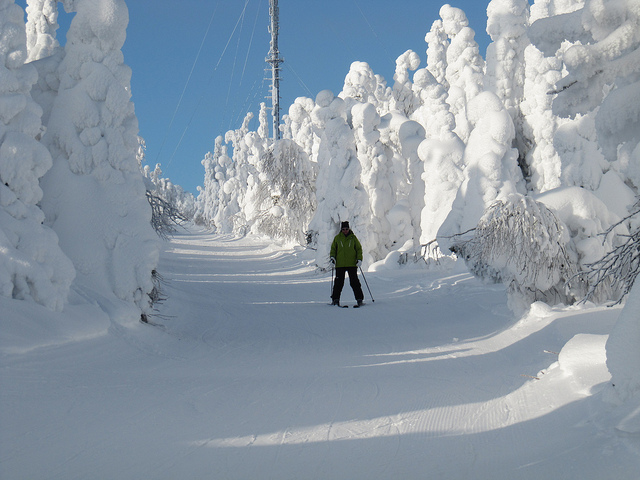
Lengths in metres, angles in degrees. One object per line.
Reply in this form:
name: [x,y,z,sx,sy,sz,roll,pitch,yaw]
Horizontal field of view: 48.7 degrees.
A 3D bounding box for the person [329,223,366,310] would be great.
person: [0.596,0.569,15.532,0.724,1.878,1.121,0,10,1]
